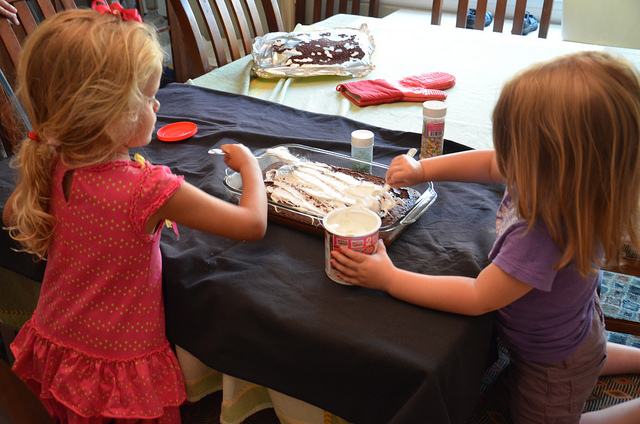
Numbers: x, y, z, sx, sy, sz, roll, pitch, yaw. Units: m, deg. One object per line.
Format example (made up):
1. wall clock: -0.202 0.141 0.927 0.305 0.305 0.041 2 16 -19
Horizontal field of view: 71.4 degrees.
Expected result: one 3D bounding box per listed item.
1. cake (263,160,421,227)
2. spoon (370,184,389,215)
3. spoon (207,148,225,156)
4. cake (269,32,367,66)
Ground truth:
1. cake: 0.037 -0.060 1.163 0.343 0.037 0.184 14 41 17
2. spoon: 0.149 -0.031 1.116 0.025 0.015 0.089 33 43 -2
3. spoon: -0.316 -0.182 1.353 0.070 0.017 0.043 6 13 33
4. cake: -0.003 -0.715 1.955 0.334 0.045 0.197 -3 47 -1
